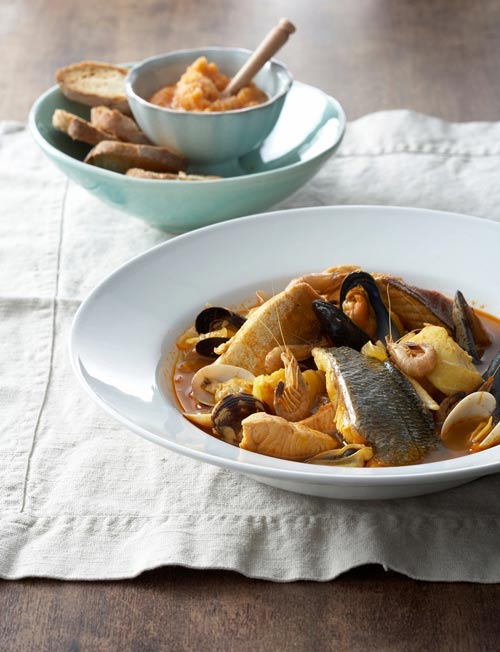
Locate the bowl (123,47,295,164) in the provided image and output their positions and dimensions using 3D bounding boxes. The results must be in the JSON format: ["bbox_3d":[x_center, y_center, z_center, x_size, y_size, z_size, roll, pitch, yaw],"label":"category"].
[{"bbox_3d":[-0.085,-0.394,1.372,0.312,0.124,0.267,4,33,6],"label":"bowl"}]
